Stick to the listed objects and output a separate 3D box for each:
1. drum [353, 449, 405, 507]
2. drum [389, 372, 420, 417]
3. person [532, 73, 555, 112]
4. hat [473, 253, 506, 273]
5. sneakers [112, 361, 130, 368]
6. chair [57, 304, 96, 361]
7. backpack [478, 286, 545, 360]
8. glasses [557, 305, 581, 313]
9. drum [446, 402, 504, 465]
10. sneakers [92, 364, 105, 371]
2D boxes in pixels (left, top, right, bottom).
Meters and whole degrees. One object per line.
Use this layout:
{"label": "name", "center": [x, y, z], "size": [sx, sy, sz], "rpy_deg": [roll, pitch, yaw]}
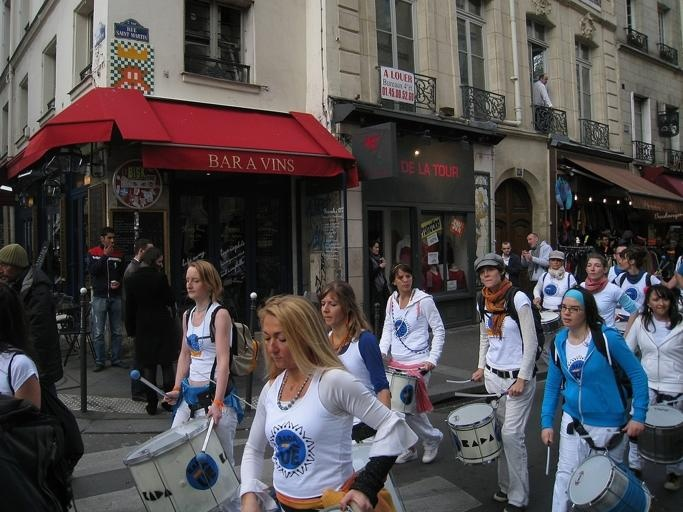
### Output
{"label": "drum", "center": [0.354, 2.160, 7.807], "size": [0.507, 0.606, 0.495], "rpy_deg": [-1, -2, 9]}
{"label": "drum", "center": [0.772, 1.680, 9.956], "size": [0.382, 0.468, 0.424], "rpy_deg": [-1, -12, -1]}
{"label": "person", "center": [5.293, -4.359, 21.057], "size": [0.433, 0.989, 0.740], "rpy_deg": [-2, -2, 20]}
{"label": "hat", "center": [1.825, 0.076, 9.771], "size": [0.318, 0.219, 0.308], "rpy_deg": [-2, -2, 27]}
{"label": "sneakers", "center": [-3.844, 1.894, 14.116], "size": [0.327, 0.158, 0.131], "rpy_deg": [0, 1, 7]}
{"label": "chair", "center": [-4.799, 1.367, 14.796], "size": [0.539, 0.988, 0.545], "rpy_deg": [-4, 0, -8]}
{"label": "backpack", "center": [2.064, 0.806, 9.752], "size": [0.754, 0.880, 0.448], "rpy_deg": [-1, -2, 11]}
{"label": "glasses", "center": [2.580, 0.585, 8.905], "size": [0.234, 0.112, 0.075], "rpy_deg": [-2, -2, 11]}
{"label": "drum", "center": [1.615, 2.051, 9.481], "size": [0.620, 0.555, 0.619], "rpy_deg": [-21, 13, -19]}
{"label": "sneakers", "center": [-4.189, 1.923, 13.919], "size": [0.185, 0.116, 0.225], "rpy_deg": [-1, -2, -14]}
